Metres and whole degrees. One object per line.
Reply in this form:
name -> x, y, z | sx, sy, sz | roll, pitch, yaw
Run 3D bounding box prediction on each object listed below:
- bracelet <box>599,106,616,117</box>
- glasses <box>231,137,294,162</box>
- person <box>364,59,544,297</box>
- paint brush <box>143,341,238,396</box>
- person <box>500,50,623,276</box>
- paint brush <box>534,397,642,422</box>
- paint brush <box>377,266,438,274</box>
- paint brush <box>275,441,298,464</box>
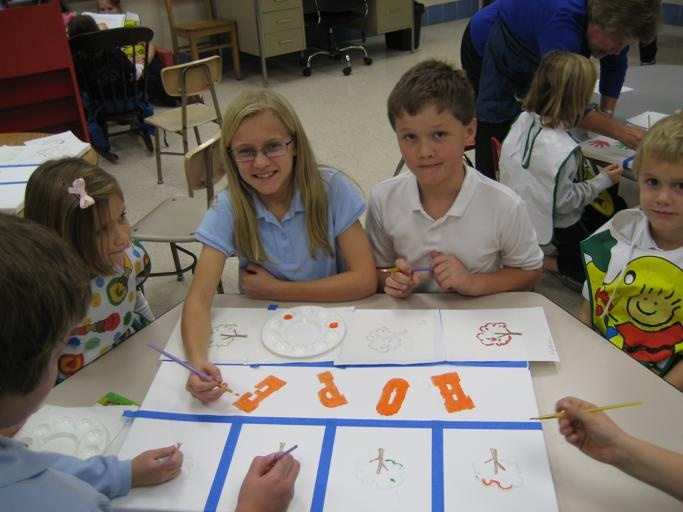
bracelet -> 1.358, -0.744, 2.580 | 0.053, 0.062, 0.060 | -19, 31, 5
glasses -> -0.231, -0.319, 1.512 | 0.194, 0.046, 0.059 | -13, 27, -13
person -> 0.346, -0.198, 1.612 | 0.580, 0.815, 0.451 | 7, 25, 26
paint brush -> -0.379, 0.289, 1.268 | 0.207, 0.016, 0.014 | 33, 14, 22
person -> 0.947, -0.426, 2.187 | 0.454, 0.914, 0.479 | -17, 47, -1
paint brush -> 0.540, 0.334, 1.092 | 0.263, 0.020, 0.027 | -9, 46, -15
paint brush -> 0.207, 0.042, 1.537 | 0.179, 0.020, 0.020 | 1, 16, -9
paint brush -> -0.120, 0.418, 1.063 | 0.033, 0.012, 0.025 | -30, 0, -12
